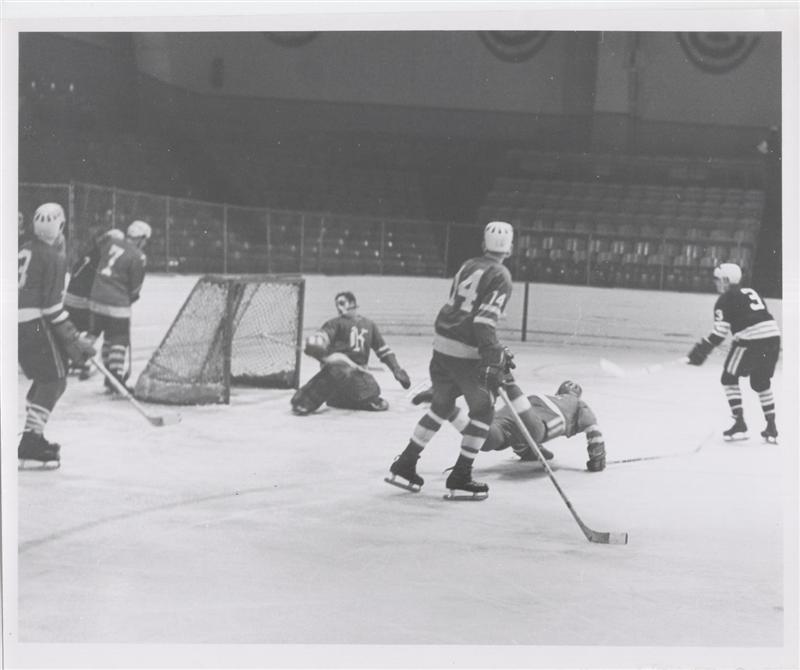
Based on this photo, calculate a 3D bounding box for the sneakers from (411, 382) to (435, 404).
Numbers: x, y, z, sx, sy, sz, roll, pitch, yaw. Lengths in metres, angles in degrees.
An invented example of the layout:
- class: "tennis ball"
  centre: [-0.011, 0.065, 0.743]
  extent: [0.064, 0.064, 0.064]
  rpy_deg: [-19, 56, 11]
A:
- class: "sneakers"
  centre: [0.099, 0.254, 4.494]
  extent: [0.122, 0.088, 0.043]
  rpy_deg: [-23, -53, 33]

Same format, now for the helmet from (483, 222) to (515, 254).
- class: "helmet"
  centre: [0.407, -0.408, 4.465]
  extent: [0.096, 0.142, 0.134]
  rpy_deg: [6, 4, 3]

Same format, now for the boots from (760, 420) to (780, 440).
- class: "boots"
  centre: [1.528, 0.388, 4.474]
  extent: [0.044, 0.096, 0.096]
  rpy_deg: [-1, 8, -4]

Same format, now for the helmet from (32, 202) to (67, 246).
- class: "helmet"
  centre: [-1.513, -0.500, 4.610]
  extent: [0.105, 0.156, 0.146]
  rpy_deg: [6, 32, -13]

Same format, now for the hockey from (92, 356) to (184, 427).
- class: "hockey"
  centre: [-1.115, 0.213, 4.496]
  extent: [0.231, 0.429, 0.071]
  rpy_deg: [-34, -11, -22]

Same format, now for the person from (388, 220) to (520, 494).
- class: "person"
  centre: [0.206, 0.168, 4.435]
  extent: [0.439, 0.975, 0.151]
  rpy_deg: [5, 4, 13]

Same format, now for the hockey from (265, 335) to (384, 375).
- class: "hockey"
  centre: [-0.257, 0.105, 4.527]
  extent: [0.325, 0.063, 0.080]
  rpy_deg: [25, -6, 1]

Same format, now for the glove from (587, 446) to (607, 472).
- class: "glove"
  centre: [0.817, 0.508, 4.432]
  extent: [0.089, 0.136, 0.072]
  rpy_deg: [2, 3, 3]

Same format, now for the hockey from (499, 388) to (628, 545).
- class: "hockey"
  centre: [0.675, 0.560, 4.423]
  extent: [0.108, 0.658, 0.054]
  rpy_deg: [-15, -19, -30]

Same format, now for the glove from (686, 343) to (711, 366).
- class: "glove"
  centre: [1.249, 0.083, 4.480]
  extent: [0.054, 0.094, 0.053]
  rpy_deg: [13, -27, 43]

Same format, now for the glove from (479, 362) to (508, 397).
- class: "glove"
  centre: [0.382, 0.177, 4.334]
  extent: [0.085, 0.099, 0.108]
  rpy_deg: [6, 21, 20]
